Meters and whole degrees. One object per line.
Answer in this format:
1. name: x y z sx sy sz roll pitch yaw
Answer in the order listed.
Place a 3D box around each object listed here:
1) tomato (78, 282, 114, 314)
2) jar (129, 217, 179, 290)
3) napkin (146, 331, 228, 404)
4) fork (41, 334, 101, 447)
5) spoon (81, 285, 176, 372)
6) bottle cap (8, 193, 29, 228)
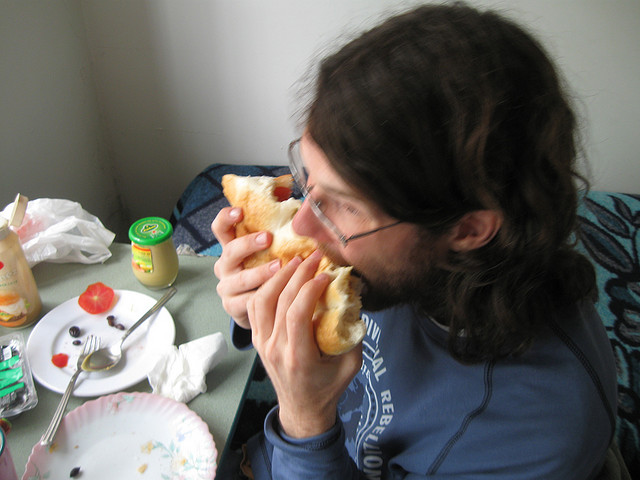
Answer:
1. tomato: -0.644 0.172 1.550 0.099 0.064 0.062 -25 30 -32
2. jar: -0.503 0.050 1.623 0.126 0.201 0.139 7 29 1
3. napkin: -0.347 0.337 1.415 0.142 0.093 0.197 7 29 28
4. fork: -0.627 0.395 1.330 0.026 0.023 0.223 14 57 -3
5. spoon: -0.507 0.260 1.509 0.073 0.055 0.361 25 60 22
6. bottle cap: -0.820 -0.076 1.458 0.016 0.075 0.071 19 2 -19
